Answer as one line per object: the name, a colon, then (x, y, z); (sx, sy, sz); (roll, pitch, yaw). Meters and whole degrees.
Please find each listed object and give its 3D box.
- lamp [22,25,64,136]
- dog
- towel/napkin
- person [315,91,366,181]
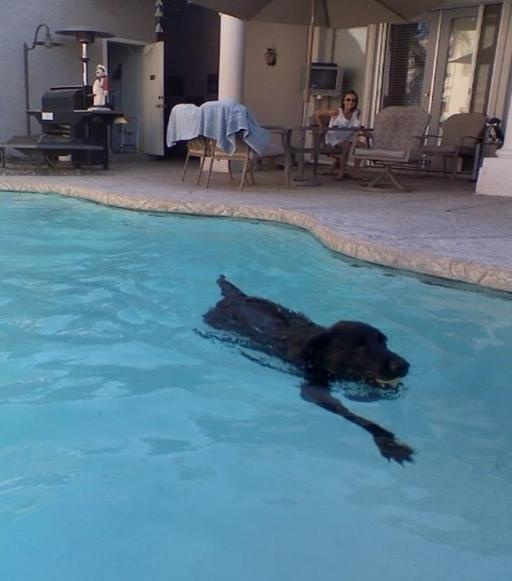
lamp: (-3.920, -3.897, 9.847); (0.679, 1.988, 0.977); (-1, 16, -18)
dog: (0.238, 0.272, 2.191); (0.334, 0.365, 1.032); (42, -13, -37)
towel/napkin: (-0.504, -1.785, 5.978); (1.039, 0.429, 0.673); (16, 20, 35)
person: (1.330, -2.444, 8.371); (0.738, 1.164, 0.881); (-13, 24, -40)
